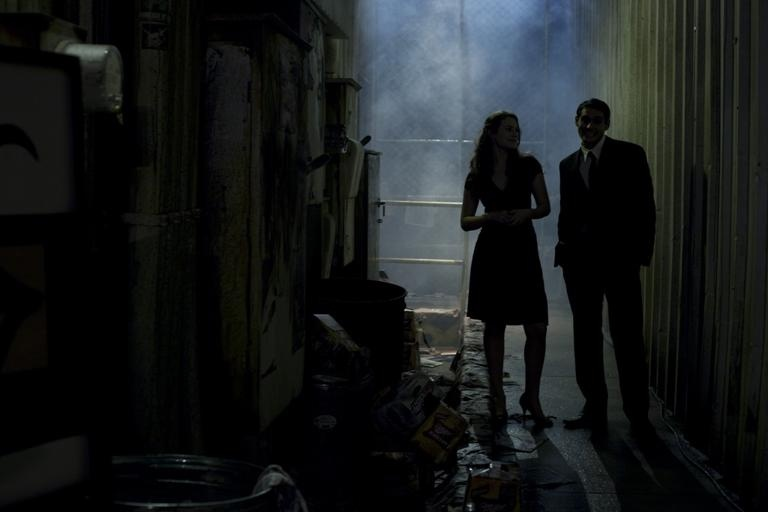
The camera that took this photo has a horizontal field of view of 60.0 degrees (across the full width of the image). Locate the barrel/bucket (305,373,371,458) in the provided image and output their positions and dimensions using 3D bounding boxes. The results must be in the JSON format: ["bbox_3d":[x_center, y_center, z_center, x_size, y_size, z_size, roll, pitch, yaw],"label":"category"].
[{"bbox_3d":[-0.204,0.753,3.182,0.286,0.559,0.310,1,-8,0],"label":"barrel/bucket"}]

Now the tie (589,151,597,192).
[{"bbox_3d":[1.160,-0.477,3.727,0.056,0.202,0.015,8,8,29],"label":"tie"}]

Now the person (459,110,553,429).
[{"bbox_3d":[0.753,0.069,3.981,0.626,1.825,0.294,5,7,4],"label":"person"}]

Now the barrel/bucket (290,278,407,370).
[{"bbox_3d":[-0.188,0.350,4.012,0.510,0.605,0.553,1,0,0],"label":"barrel/bucket"}]

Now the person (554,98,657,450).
[{"bbox_3d":[1.283,0.095,3.782,0.662,1.893,0.171,7,7,24],"label":"person"}]
